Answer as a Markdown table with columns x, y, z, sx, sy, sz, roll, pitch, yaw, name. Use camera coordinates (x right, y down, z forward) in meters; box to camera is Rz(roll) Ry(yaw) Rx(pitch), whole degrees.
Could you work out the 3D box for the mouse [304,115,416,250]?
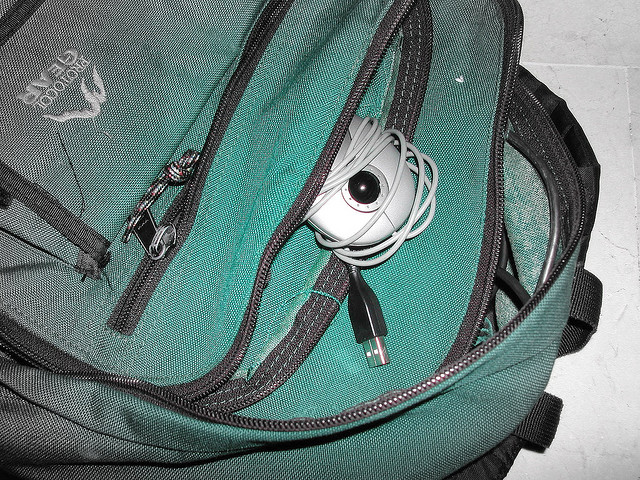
| x | y | z | sx | sy | sz | roll | pitch | yaw | name |
| --- | --- | --- | --- | --- | --- | --- | --- | --- | --- |
| 0.058 | -0.090 | 0.870 | 0.199 | 0.132 | 0.257 | 1 | 40 | -1 | mouse |
